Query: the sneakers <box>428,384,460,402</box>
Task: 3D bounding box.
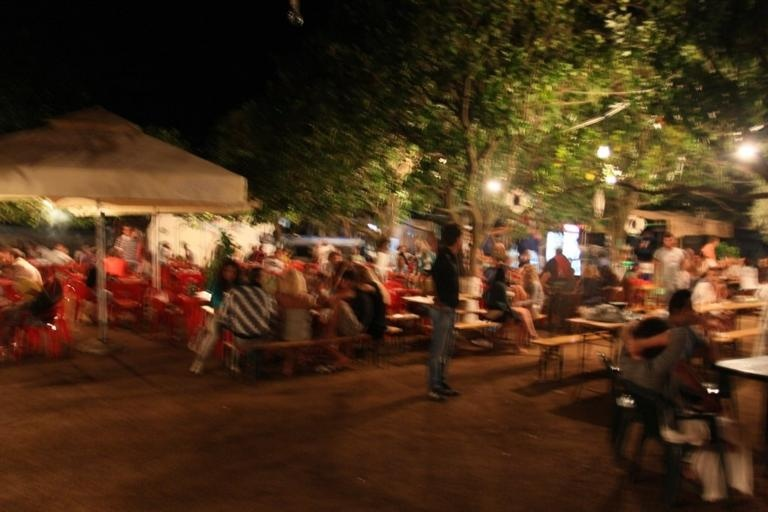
[{"bbox_3d":[0.973,2.224,9.428,0.426,0.147,0.217,0,-1,-21],"label":"sneakers"}]
